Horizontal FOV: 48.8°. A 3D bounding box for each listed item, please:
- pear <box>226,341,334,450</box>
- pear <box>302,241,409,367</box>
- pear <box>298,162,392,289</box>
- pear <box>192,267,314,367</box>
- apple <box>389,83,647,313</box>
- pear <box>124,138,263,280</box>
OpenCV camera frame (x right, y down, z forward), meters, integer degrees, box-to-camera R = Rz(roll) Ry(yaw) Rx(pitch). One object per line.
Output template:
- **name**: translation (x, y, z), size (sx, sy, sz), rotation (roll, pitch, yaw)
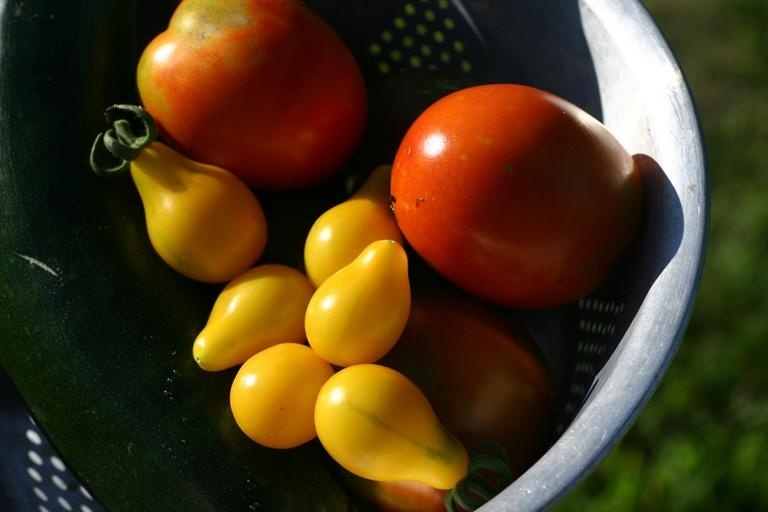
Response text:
- **pear**: translation (-0.125, 0.162, 1.048), size (0.120, 0.116, 0.098), rotation (-27, 41, -37)
- **pear**: translation (-0.027, 0.066, 1.007), size (0.138, 0.097, 0.104), rotation (-24, 67, -17)
- **pear**: translation (-0.044, -0.031, 1.044), size (0.078, 0.071, 0.159), rotation (29, 75, -25)
- **pear**: translation (-0.168, 0.067, 1.061), size (0.114, 0.120, 0.136), rotation (26, 36, 36)
- **apple**: translation (0.164, -0.076, 1.046), size (0.310, 0.144, 0.211), rotation (15, 62, 0)
- **pear**: translation (-0.240, -0.050, 1.071), size (0.179, 0.085, 0.120), rotation (15, 62, 1)
